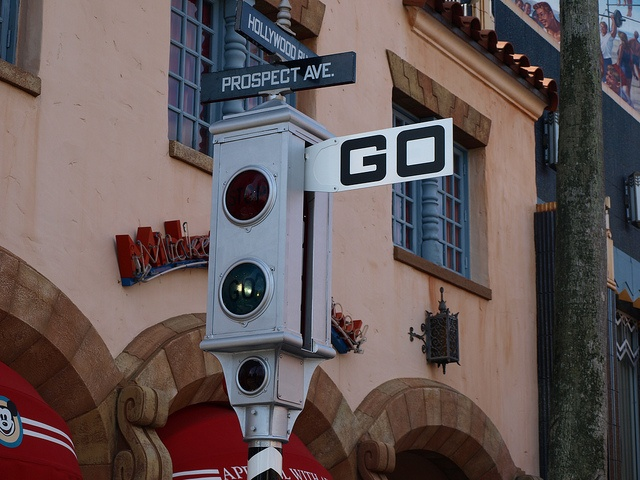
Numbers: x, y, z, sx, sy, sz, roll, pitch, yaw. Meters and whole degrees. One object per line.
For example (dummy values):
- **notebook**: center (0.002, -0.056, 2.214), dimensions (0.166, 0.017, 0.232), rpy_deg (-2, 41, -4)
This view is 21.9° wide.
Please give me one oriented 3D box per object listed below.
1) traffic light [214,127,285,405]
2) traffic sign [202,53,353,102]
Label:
- **traffic light**: center (-0.674, 0.009, 14.470), dimensions (0.755, 0.582, 2.670), rpy_deg (-5, -66, -14)
- **traffic sign**: center (-0.398, -1.469, 14.777), dimensions (1.428, 0.340, 0.234), rpy_deg (-10, -48, 5)
